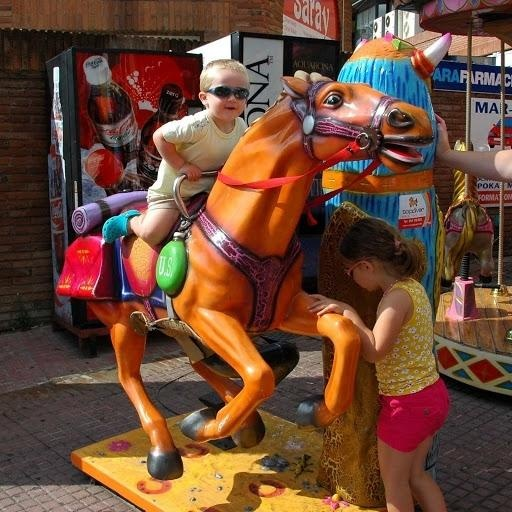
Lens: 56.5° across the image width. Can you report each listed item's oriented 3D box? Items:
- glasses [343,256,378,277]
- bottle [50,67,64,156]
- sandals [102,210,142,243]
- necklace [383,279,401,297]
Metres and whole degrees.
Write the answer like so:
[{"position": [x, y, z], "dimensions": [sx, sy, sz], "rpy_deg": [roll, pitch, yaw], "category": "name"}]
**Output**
[{"position": [0.376, 0.039, 1.750], "dimensions": [0.095, 0.026, 0.071], "rpy_deg": [-15, -14, 41], "category": "glasses"}, {"position": [-2.169, -1.578, 5.240], "dimensions": [0.077, 0.649, 0.399], "rpy_deg": [-4, 3, -25], "category": "bottle"}, {"position": [-0.655, -0.154, 2.318], "dimensions": [0.149, 0.078, 0.192], "rpy_deg": [-33, -3, 25], "category": "sandals"}, {"position": [0.488, 0.113, 1.715], "dimensions": [0.062, 0.022, 0.047], "rpy_deg": [-41, -26, 11], "category": "necklace"}]
